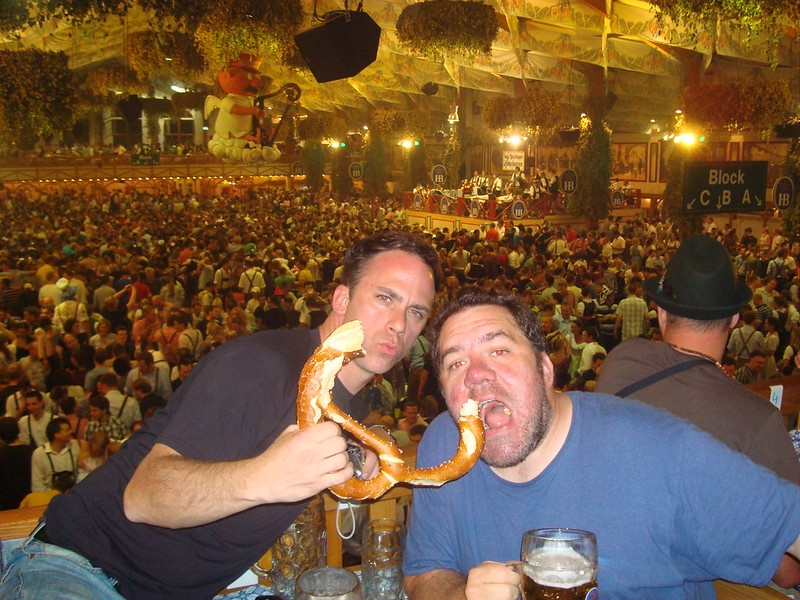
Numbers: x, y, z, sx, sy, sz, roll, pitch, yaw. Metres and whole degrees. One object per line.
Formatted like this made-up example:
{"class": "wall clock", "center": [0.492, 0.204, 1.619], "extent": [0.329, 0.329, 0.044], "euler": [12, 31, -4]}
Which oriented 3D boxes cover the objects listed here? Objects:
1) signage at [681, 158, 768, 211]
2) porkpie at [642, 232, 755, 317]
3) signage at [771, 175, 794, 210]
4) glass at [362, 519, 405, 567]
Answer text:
{"class": "signage", "center": [3.445, -1.207, 6.917], "extent": [1.015, 0.595, 0.065], "euler": [-5, 15, -16]}
{"class": "porkpie", "center": [1.465, -0.084, 3.163], "extent": [0.370, 0.184, 0.448], "euler": [5, 43, 25]}
{"class": "signage", "center": [5.509, -1.571, 9.323], "extent": [0.244, 0.482, 0.632], "euler": [5, 4, 29]}
{"class": "glass", "center": [-0.062, 0.973, 2.565], "extent": [0.186, 0.186, 0.187], "euler": [-1, 7, 2]}
